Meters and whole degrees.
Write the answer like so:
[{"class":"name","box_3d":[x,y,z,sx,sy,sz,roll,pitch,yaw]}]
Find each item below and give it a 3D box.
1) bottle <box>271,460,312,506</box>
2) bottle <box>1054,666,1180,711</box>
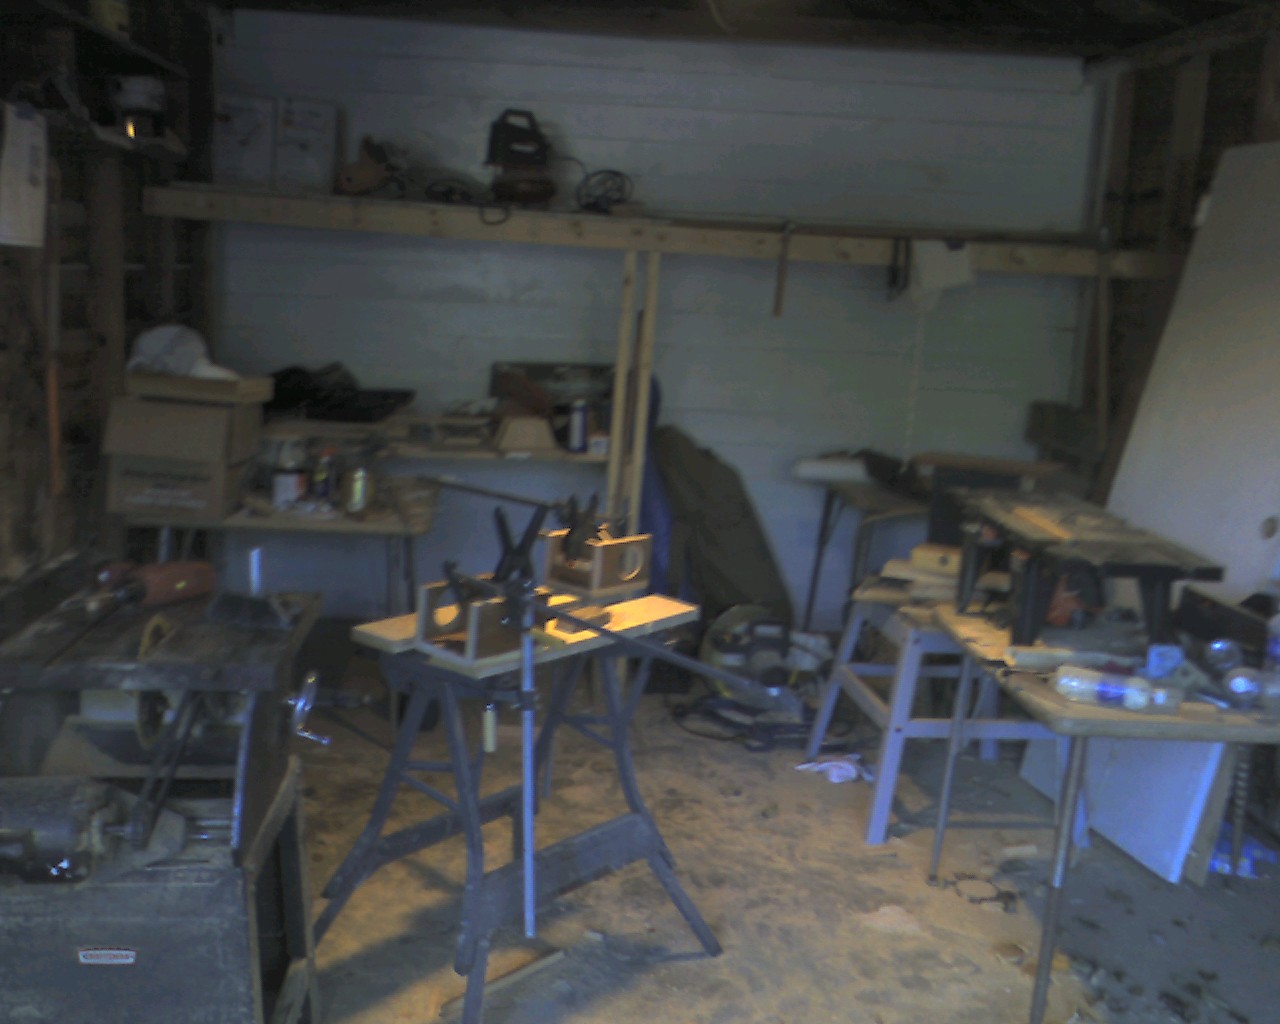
[{"class":"bottle","box_3d":[-1.790,-0.132,5.760,0.169,0.234,0.207,2,1,-3]},{"class":"bottle","box_3d":[1.751,0.642,4.124,0.429,0.088,0.213,5,9,16]}]
